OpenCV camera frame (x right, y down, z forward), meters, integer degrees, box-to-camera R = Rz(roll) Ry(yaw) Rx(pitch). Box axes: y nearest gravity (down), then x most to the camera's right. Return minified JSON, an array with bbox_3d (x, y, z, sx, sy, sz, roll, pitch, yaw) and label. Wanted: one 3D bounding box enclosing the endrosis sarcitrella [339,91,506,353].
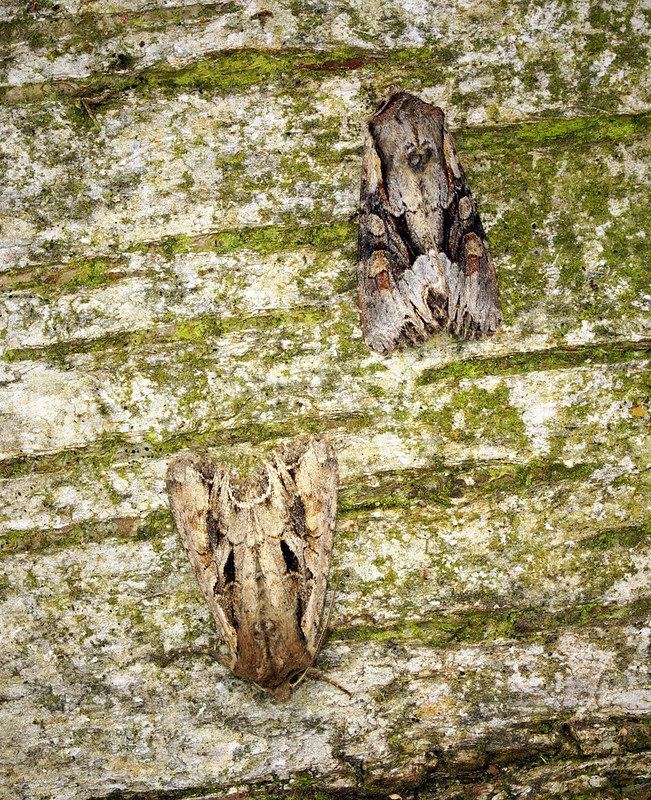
[{"bbox_3d":[0.467,-0.879,8.948,0.693,1.218,0.218,-7,13,3],"label":"endrosis sarcitrella"}]
